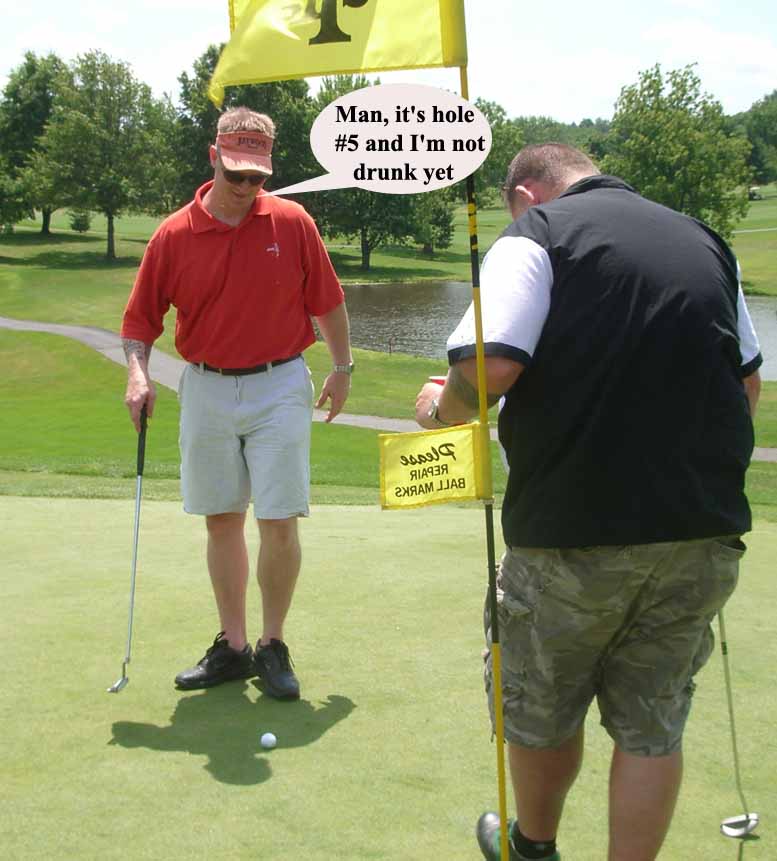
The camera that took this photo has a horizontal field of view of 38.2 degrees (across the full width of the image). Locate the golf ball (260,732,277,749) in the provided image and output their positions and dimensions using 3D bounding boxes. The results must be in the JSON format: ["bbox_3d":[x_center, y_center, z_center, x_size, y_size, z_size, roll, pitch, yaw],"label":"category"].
[{"bbox_3d":[-0.325,0.842,3.041,0.032,0.018,0.033,4,14,-1],"label":"golf ball"}]

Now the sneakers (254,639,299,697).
[{"bbox_3d":[-0.342,0.745,3.451,0.084,0.107,0.230,3,2,-22],"label":"sneakers"}]

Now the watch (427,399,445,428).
[{"bbox_3d":[0.115,-0.034,2.564,0.033,0.042,0.037,-9,-19,-44],"label":"watch"}]

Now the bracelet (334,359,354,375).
[{"bbox_3d":[-0.157,-0.228,4.058,0.053,0.055,0.055,-3,3,-33],"label":"bracelet"}]

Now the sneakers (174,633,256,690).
[{"bbox_3d":[-0.538,0.737,3.542,0.104,0.160,0.292,-10,-12,38],"label":"sneakers"}]

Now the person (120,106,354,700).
[{"bbox_3d":[-0.472,-0.120,3.660,0.796,1.835,0.790,0,10,-9],"label":"person"}]
